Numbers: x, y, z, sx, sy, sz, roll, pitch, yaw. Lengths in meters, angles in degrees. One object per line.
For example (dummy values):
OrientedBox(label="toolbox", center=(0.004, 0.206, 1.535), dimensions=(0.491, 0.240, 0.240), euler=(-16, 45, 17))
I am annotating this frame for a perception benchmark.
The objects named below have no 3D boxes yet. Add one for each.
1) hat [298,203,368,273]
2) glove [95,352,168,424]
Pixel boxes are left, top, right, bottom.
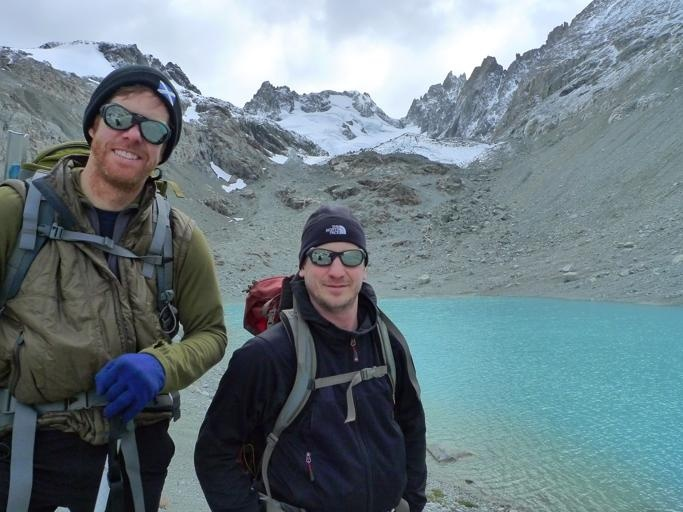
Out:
OrientedBox(label="hat", center=(-0.066, -0.124, 4.675), dimensions=(0.541, 0.436, 0.521), euler=(0, -16, 8))
OrientedBox(label="glove", center=(-1.463, 0.906, 3.908), dimensions=(0.453, 0.460, 0.166), euler=(-5, 11, -23))
